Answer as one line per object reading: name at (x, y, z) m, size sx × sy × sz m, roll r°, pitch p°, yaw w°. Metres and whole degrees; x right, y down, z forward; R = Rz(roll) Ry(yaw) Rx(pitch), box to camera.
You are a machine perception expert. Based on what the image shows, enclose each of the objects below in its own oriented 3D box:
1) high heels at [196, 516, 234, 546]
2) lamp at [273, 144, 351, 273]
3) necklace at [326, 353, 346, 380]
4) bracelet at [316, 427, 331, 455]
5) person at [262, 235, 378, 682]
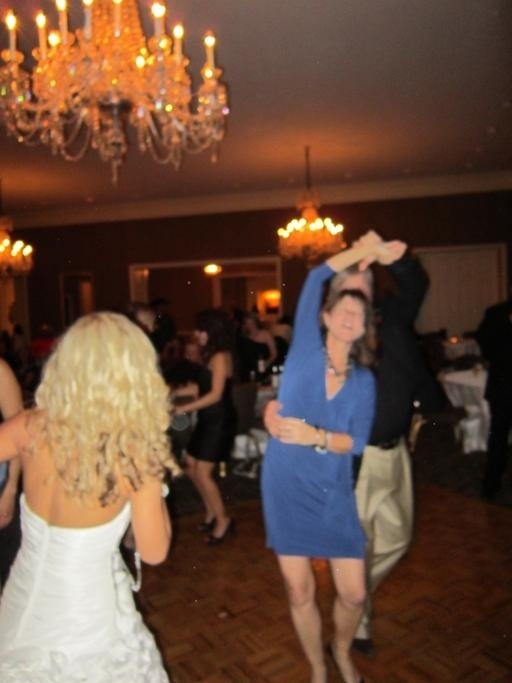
high heels at (-0.239, 1.124, 3.598) m, size 0.198 × 0.135 × 0.244 m, roll -1°, pitch 3°, yaw -10°
lamp at (0.679, -1.738, 7.503) m, size 0.847 × 1.536 × 0.818 m, roll -8°, pitch 10°, yaw -28°
necklace at (0.259, 0.092, 1.916) m, size 0.070 × 0.058 × 0.050 m, roll 0°, pitch 5°, yaw -8°
bracelet at (0.210, 0.313, 1.845) m, size 0.028 × 0.067 × 0.051 m, roll 2°, pitch 12°, yaw -17°
person at (0.229, 0.458, 1.995) m, size 0.418 × 1.647 × 0.285 m, roll -2°, pitch 4°, yaw -16°
